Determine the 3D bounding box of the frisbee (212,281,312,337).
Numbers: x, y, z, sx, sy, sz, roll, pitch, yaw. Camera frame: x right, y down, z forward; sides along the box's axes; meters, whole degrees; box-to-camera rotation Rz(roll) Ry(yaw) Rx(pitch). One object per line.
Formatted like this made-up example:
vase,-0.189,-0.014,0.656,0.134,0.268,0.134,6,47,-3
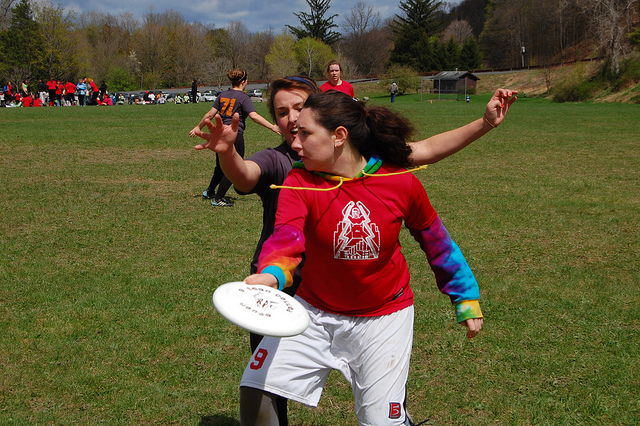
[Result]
frisbee,-0.474,0.759,4.254,0.496,0.138,0.511,4,17,-18

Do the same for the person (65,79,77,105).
person,-15.164,-7.217,32.732,0.540,1.339,1.282,-8,18,-24

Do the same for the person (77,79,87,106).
person,-15.155,-7.658,34.293,0.486,1.567,1.559,-8,18,-23

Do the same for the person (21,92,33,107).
person,-18.060,-6.871,33.248,0.641,0.674,2.784,-10,20,-28

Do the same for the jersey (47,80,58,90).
jersey,-15.887,-7.548,31.945,0.593,0.597,0.390,-2,-12,-1

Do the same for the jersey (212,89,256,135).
jersey,-1.655,-1.916,9.755,0.996,0.833,0.382,6,42,-10

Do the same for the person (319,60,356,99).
person,0.326,-2.758,11.195,0.795,0.780,0.463,-2,15,1

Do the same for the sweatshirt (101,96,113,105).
sweatshirt,-14.934,-7.924,37.892,0.787,0.308,0.813,18,21,-22

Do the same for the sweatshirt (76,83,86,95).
sweatshirt,-15.035,-7.808,33.925,0.451,0.718,0.739,-8,18,-22

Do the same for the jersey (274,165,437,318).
jersey,0.340,0.216,4.935,1.395,1.326,0.805,0,18,3

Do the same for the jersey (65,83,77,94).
jersey,-15.042,-7.493,32.449,0.470,0.647,0.783,-11,20,-31
